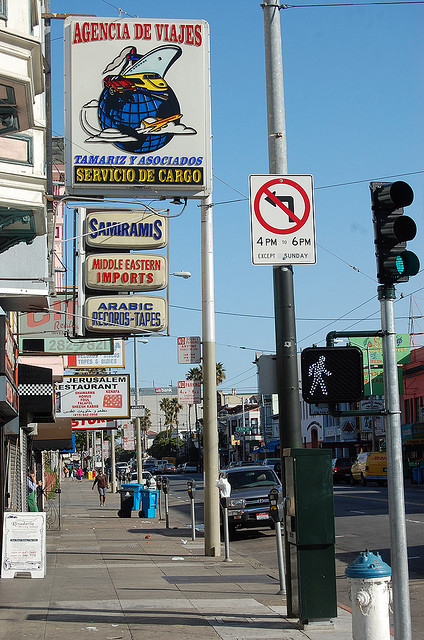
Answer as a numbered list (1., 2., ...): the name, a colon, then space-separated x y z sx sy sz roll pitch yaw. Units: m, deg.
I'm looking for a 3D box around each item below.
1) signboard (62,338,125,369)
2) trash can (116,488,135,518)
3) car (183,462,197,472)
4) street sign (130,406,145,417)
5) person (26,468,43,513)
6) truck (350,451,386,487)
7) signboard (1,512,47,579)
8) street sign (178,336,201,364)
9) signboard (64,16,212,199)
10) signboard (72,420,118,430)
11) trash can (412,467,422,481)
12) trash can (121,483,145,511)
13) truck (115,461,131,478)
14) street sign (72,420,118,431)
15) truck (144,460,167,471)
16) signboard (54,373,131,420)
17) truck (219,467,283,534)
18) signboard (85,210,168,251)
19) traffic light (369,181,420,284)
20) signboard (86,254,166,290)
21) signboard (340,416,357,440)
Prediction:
1. signboard: -3.646 0.977 28.171 1.159 0.767 0.046 1 3 2
2. trash can: -2.882 6.099 30.678 0.717 1.205 0.683 3 -5 -9
3. car: -2.273 15.330 95.703 1.298 0.916 2.099 -1 -8 -9
4. street sign: -3.264 3.978 40.302 0.679 0.539 0.484 6 -7 -17
5. person: -4.323 4.288 22.427 0.400 1.358 0.341 -5 9 -19
6. truck: 8.016 7.387 45.457 1.719 1.724 3.144 1 -3 -6
7. signboard: -2.844 3.376 13.794 0.643 0.928 0.683 -1 -7 -6
8. street sign: -0.455 0.596 18.748 0.648 0.814 0.098 0 -6 0
9. signboard: -1.057 -3.074 13.156 2.085 2.844 0.275 0 -13 -5
10. signboard: -4.904 4.360 38.367 1.794 0.435 5.248 -1 -8 -7
11. trash can: 10.215 7.591 45.108 0.485 1.024 0.527 1 -8 -2
12. trash can: -2.621 5.936 30.870 0.752 1.177 0.778 -3 -5 10
13. truck: -7.057 11.842 72.254 1.002 0.833 36.060 -1 -8 -6
14. street sign: -4.898 4.279 37.792 1.895 0.271 0.479 3 -34 -4
15. truck: -5.822 14.916 94.896 1.901 1.171 1.243 -5 2 -8
16. signboard: -4.333 2.705 32.597 2.910 1.898 0.117 3 -9 -21
17. truck: 0.954 4.508 22.924 1.476 1.767 3.100 -3 -10 -8
18. signboard: -1.672 -1.798 17.836 1.609 0.751 0.452 -1 -7 -6
19. traffic light: 1.519 -0.776 7.661 0.373 0.911 0.377 -4 -7 16
20. signboard: -1.684 -0.964 17.970 1.531 0.710 0.232 -1 -7 -8
21. signboard: 11.166 8.755 74.513 1.133 1.720 3.949 -2 -8 4
